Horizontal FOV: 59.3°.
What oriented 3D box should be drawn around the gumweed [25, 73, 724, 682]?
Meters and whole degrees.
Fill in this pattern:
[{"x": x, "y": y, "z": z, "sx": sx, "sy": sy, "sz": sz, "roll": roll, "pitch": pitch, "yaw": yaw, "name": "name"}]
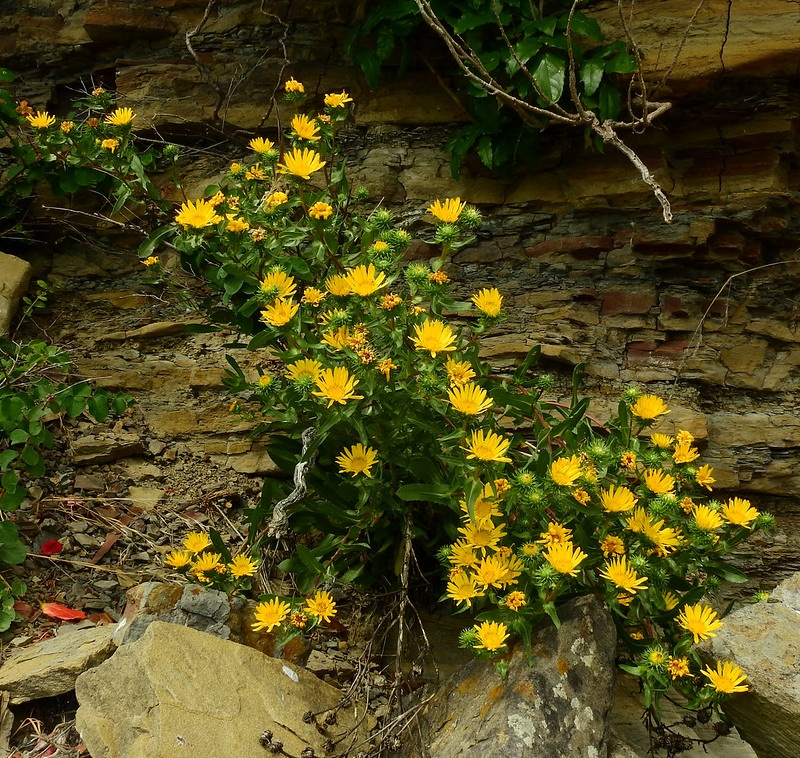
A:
[{"x": 0.258, "y": 0.089, "z": 2.642, "sx": 1.792, "sy": 2.528, "sz": 1.079, "roll": -37, "pitch": 5, "yaw": 37, "name": "gumweed"}]
